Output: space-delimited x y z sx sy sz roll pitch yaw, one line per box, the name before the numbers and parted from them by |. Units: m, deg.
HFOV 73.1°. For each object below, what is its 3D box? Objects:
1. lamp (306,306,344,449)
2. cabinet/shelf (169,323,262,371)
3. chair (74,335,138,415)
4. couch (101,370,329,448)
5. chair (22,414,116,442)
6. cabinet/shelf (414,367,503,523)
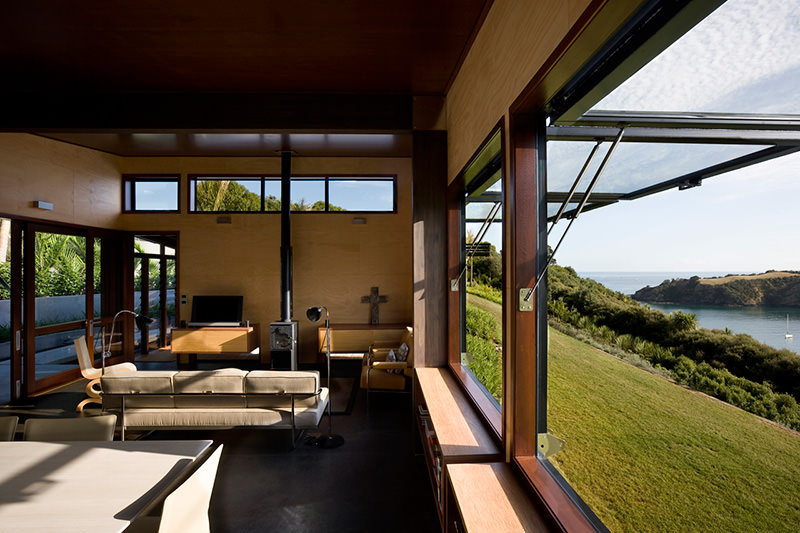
lamp | -0.857 1.241 6.157 0.518 1.535 0.500 -1 -5 -10
cabinet/shelf | -3.056 1.316 8.960 1.364 0.790 0.671 1 14 -2
chair | -3.980 1.412 7.300 0.865 0.894 0.853 -1 -3 11
couch | -1.932 1.382 5.567 2.197 0.671 0.329 1 14 -4
chair | -2.753 1.355 4.490 0.749 0.192 0.294 3 14 3
cabinet/shelf | 0.465 1.439 4.338 0.341 0.546 1.493 0 0 1
